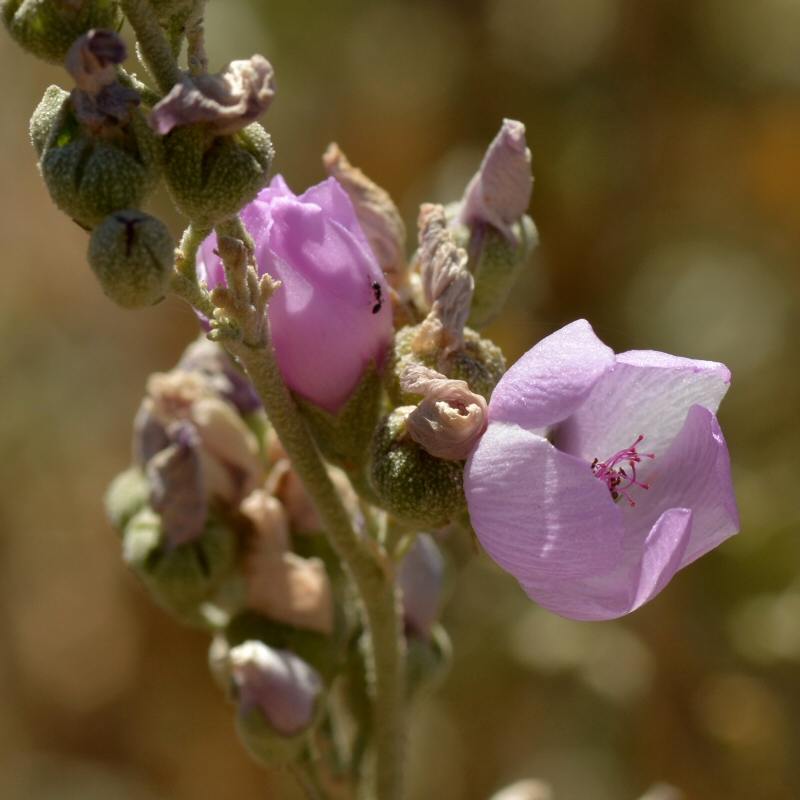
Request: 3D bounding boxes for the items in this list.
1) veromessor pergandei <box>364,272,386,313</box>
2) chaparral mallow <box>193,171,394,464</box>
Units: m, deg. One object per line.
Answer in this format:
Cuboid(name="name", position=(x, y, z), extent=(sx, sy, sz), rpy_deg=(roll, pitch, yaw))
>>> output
Cuboid(name="veromessor pergandei", position=(-0.016, -0.065, 0.730), extent=(0.006, 0.014, 0.019), rpy_deg=(-5, 84, 40))
Cuboid(name="chaparral mallow", position=(-0.053, -0.044, 0.740), extent=(0.092, 0.147, 0.100), rpy_deg=(4, 54, 12))
